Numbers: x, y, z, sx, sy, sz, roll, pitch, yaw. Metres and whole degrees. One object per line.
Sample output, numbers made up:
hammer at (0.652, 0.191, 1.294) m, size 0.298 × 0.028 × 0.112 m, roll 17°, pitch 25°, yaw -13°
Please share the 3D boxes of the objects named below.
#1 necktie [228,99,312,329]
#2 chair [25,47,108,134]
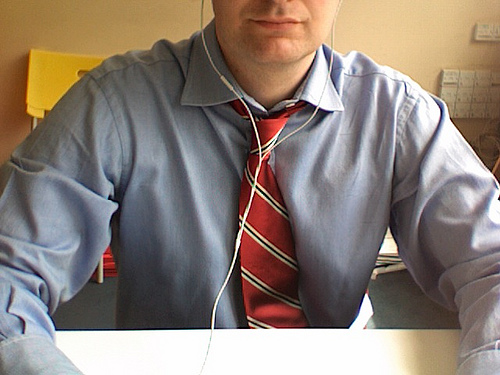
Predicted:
necktie at (0.054, 0.112, 1.041) m, size 0.214 × 0.701 × 0.057 m, roll 0°, pitch 35°, yaw 0°
chair at (-0.957, -0.539, 2.569) m, size 0.369 × 0.329 × 0.141 m, roll -4°, pitch 13°, yaw -21°
